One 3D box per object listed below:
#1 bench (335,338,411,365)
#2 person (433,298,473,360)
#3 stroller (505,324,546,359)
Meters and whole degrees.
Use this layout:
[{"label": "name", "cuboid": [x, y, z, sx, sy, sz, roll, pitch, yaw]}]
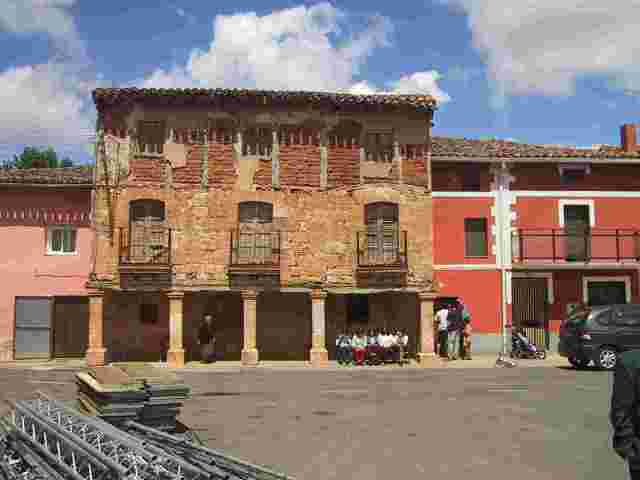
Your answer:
[{"label": "bench", "cuboid": [2.244, 4.152, 31.281, 2.178, 0.895, 0.889, 0, -8, 0]}, {"label": "person", "cuboid": [5.116, 3.414, 32.351, 1.264, 2.337, 0.839, -6, -10, 34]}, {"label": "stroller", "cuboid": [7.786, 4.057, 31.707, 1.679, 0.893, 0.736, 2, -14, -15]}]
